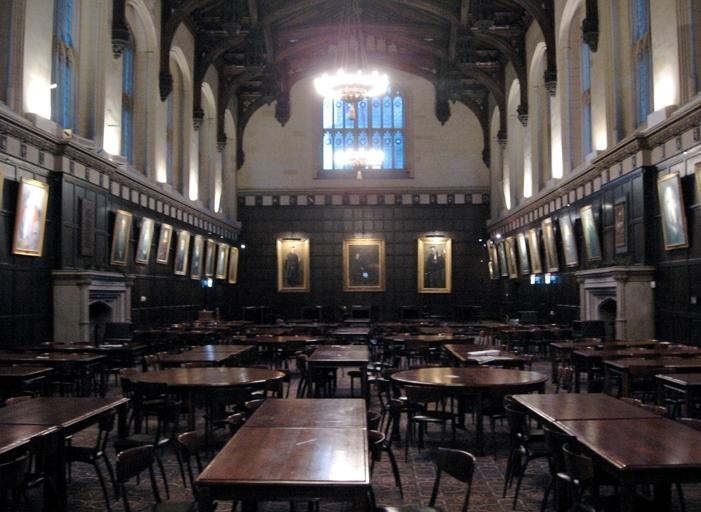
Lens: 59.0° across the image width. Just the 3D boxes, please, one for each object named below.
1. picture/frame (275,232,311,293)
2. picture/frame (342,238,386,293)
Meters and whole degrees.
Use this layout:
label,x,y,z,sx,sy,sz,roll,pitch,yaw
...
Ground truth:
label,x,y,z,sx,sy,sz,roll,pitch,yaw
picture/frame,-2.611,0.417,28.596,1.429,2.404,0.235,0,3,17
picture/frame,0.616,0.475,28.671,1.940,2.266,0.140,-1,4,-14
